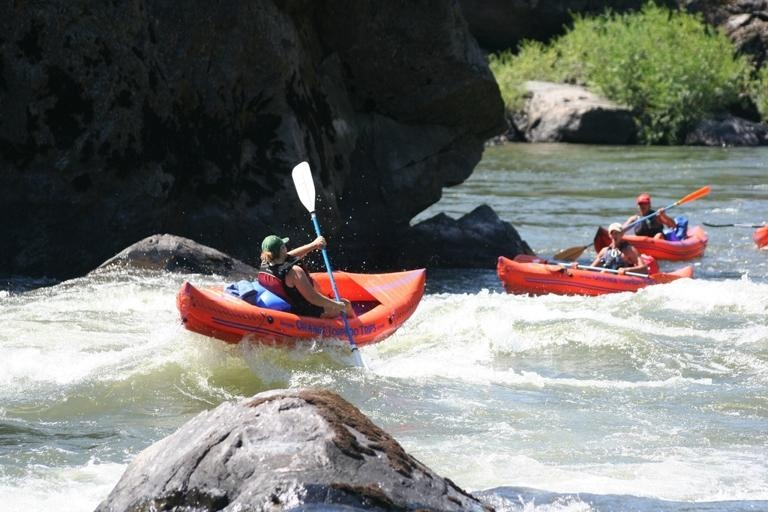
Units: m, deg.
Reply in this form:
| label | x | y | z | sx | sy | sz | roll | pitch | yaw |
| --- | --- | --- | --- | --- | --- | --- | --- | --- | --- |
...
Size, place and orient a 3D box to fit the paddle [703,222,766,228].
| label | x | y | z | sx | sy | sz | roll | pitch | yaw |
| --- | --- | --- | --- | --- | --- | --- | --- | --- | --- |
| paddle | 7.697 | -0.661 | 28.809 | 1.344 | 0.164 | 0.133 | -2 | 29 | 8 |

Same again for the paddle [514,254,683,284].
| label | x | y | z | sx | sy | sz | roll | pitch | yaw |
| --- | --- | --- | --- | --- | --- | --- | --- | --- | --- |
| paddle | 3.484 | 0.330 | 23.058 | 1.888 | 0.379 | 1.028 | 2 | 5 | -9 |

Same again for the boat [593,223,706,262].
| label | x | y | z | sx | sy | sz | roll | pitch | yaw |
| --- | --- | --- | --- | --- | --- | --- | --- | --- | --- |
| boat | 5.479 | -0.145 | 25.878 | 1.721 | 0.540 | 0.969 | -1 | 10 | -34 |

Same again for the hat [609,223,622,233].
| label | x | y | z | sx | sy | sz | roll | pitch | yaw |
| --- | --- | --- | --- | --- | --- | --- | --- | --- | --- |
| hat | 4.111 | -0.497 | 23.384 | 0.192 | 0.122 | 0.282 | -8 | -17 | 16 |

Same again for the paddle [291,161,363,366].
| label | x | y | z | sx | sy | sz | roll | pitch | yaw |
| --- | --- | --- | --- | --- | --- | --- | --- | --- | --- |
| paddle | -0.999 | 0.183 | 21.835 | 0.456 | 3.711 | 0.196 | -20 | -6 | -23 |

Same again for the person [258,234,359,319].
| label | x | y | z | sx | sy | sz | roll | pitch | yaw |
| --- | --- | --- | --- | --- | --- | --- | --- | --- | --- |
| person | -1.259 | 0.364 | 20.761 | 1.018 | 1.661 | 0.821 | -42 | 31 | -22 |

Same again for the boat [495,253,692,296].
| label | x | y | z | sx | sy | sz | roll | pitch | yaw |
| --- | --- | --- | --- | --- | --- | --- | --- | --- | --- |
| boat | 3.384 | 0.426 | 23.191 | 2.254 | 0.534 | 1.255 | 5 | 3 | -1 |
